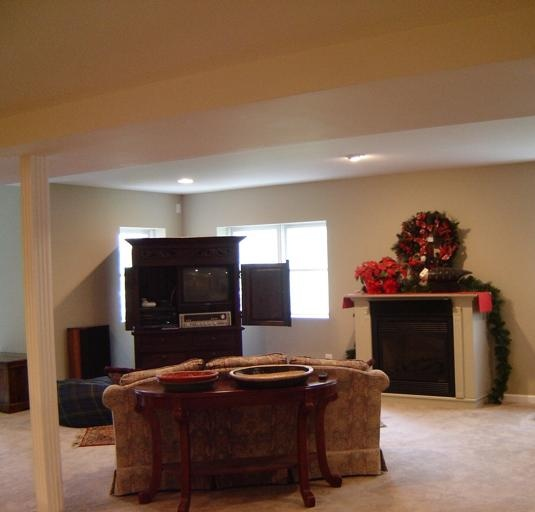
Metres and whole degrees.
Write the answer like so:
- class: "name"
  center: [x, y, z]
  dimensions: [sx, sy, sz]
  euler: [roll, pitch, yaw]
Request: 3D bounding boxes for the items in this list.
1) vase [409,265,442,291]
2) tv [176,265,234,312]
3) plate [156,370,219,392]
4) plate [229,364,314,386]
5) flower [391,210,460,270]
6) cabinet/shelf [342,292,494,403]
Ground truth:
- class: "vase"
  center: [1.928, 0.320, 6.112]
  dimensions: [0.448, 0.291, 0.237]
  euler: [-3, 6, -10]
- class: "tv"
  center: [-0.801, 0.344, 6.443]
  dimensions: [0.945, 0.609, 0.490]
  euler: [1, -5, -11]
- class: "plate"
  center: [-0.516, 0.789, 3.197]
  dimensions: [0.366, 0.092, 0.353]
  euler: [-1, -4, -13]
- class: "plate"
  center: [0.040, 0.774, 3.231]
  dimensions: [0.523, 0.090, 0.433]
  euler: [2, -5, -42]
- class: "flower"
  center: [2.024, -0.212, 6.329]
  dimensions: [0.735, 0.744, 0.278]
  euler: [2, 5, 21]
- class: "cabinet/shelf"
  center: [1.874, 1.027, 6.394]
  dimensions: [2.232, 1.636, 1.233]
  euler: [-2, -8, 26]
